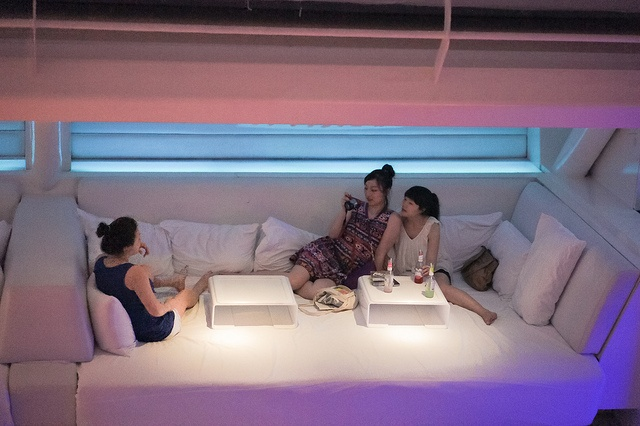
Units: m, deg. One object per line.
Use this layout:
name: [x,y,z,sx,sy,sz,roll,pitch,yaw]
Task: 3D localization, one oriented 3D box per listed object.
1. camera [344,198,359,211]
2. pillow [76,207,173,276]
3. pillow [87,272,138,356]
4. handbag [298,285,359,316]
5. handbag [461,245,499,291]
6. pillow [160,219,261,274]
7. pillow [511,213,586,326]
camera: [0.303,-0.082,4.450,0.141,0.077,0.139,-7,2,-40]
pillow: [-1.693,0.267,4.170,0.742,0.622,0.217,-1,-17,-26]
pillow: [-1.465,0.727,3.397,0.186,0.378,0.476,-13,31,-30]
handbag: [0.084,0.744,4.037,0.360,0.119,0.247,-3,13,-16]
handbag: [1.503,0.519,4.486,0.160,0.266,0.299,25,25,-22]
pillow: [-1.068,0.358,4.607,1.055,0.532,0.353,-2,-2,15]
pillow: [1.797,0.486,3.865,0.219,0.713,0.732,16,8,-19]
